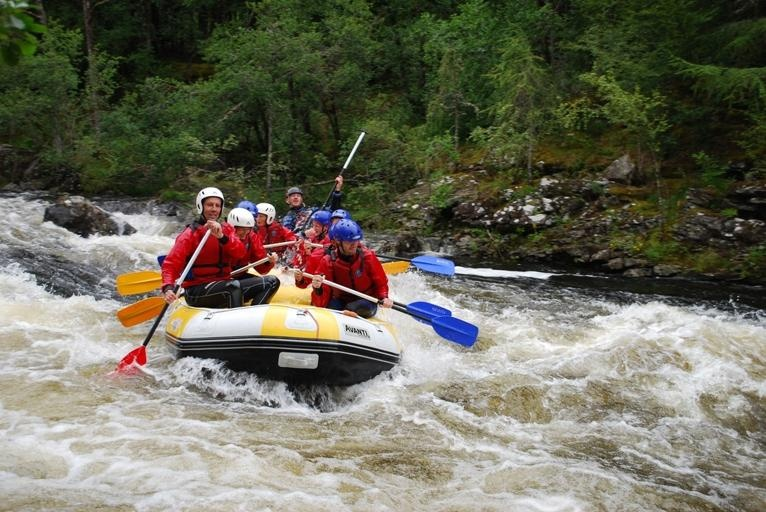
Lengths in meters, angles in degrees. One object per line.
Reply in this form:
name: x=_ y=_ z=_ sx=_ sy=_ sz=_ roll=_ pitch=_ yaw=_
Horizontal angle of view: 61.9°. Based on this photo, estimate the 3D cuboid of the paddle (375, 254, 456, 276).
paddle: x=0.535 y=0.195 z=12.174 sx=1.996 sy=0.429 sz=0.355 roll=-2 pitch=-28 yaw=28

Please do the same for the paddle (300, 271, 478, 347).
paddle: x=0.056 y=0.924 z=10.672 sx=3.579 sy=0.385 sz=0.214 roll=17 pitch=25 yaw=2

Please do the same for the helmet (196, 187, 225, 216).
helmet: x=-2.782 y=-0.863 z=10.185 sx=0.375 sy=0.437 sz=0.471 roll=7 pitch=11 yaw=-17

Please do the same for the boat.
boat: x=-1.524 y=1.164 z=9.638 sx=2.699 sy=0.665 sz=1.571 roll=13 pitch=-9 yaw=8

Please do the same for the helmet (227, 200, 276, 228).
helmet: x=-2.429 y=-0.793 z=12.144 sx=0.741 sy=0.264 sz=0.446 roll=11 pitch=12 yaw=-26
